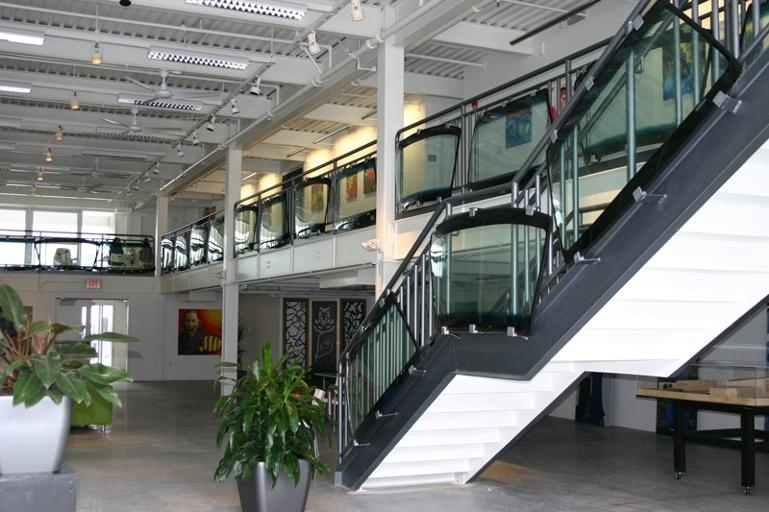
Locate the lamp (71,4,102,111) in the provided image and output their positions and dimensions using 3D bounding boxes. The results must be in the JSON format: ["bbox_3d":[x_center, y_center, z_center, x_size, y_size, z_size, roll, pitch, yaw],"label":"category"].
[{"bbox_3d":[-4.980,-3.363,11.380,0.240,0.726,1.817,8,-35,-29],"label":"lamp"}]

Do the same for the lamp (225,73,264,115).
[{"bbox_3d":[-2.691,-3.094,12.902,0.216,0.446,1.141,10,-29,-29],"label":"lamp"}]
